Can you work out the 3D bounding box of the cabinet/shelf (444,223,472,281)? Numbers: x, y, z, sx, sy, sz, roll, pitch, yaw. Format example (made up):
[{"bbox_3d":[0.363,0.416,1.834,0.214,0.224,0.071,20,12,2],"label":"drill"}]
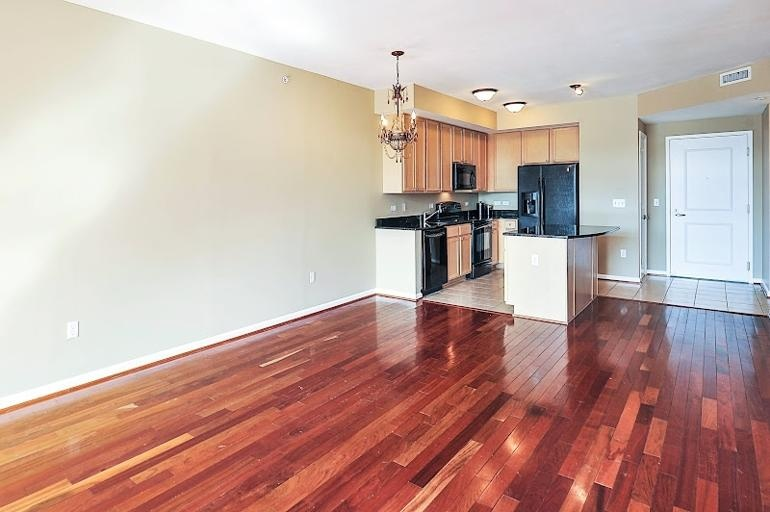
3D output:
[{"bbox_3d":[1.194,-0.081,7.824,0.488,0.906,0.980,-1,1,24],"label":"cabinet/shelf"}]

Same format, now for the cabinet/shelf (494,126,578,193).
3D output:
[{"bbox_3d":[2.840,-1.795,8.629,1.217,0.756,0.412,3,7,29],"label":"cabinet/shelf"}]

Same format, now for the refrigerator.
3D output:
[{"bbox_3d":[2.949,-1.078,8.474,1.099,1.136,0.432,3,15,19],"label":"refrigerator"}]

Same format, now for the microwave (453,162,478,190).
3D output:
[{"bbox_3d":[1.438,-1.418,8.499,0.448,0.543,0.844,1,3,26],"label":"microwave"}]
